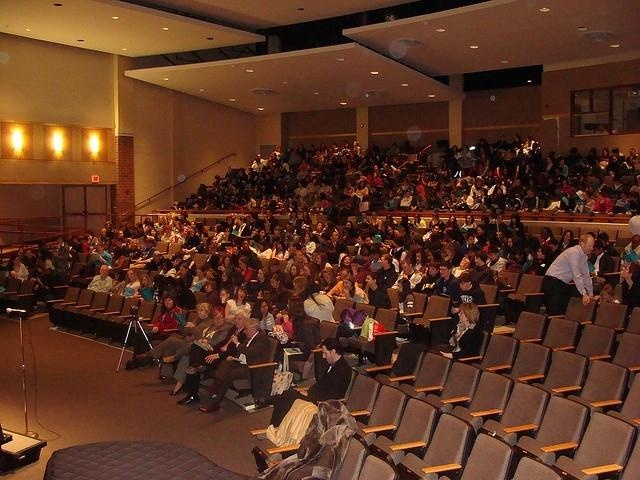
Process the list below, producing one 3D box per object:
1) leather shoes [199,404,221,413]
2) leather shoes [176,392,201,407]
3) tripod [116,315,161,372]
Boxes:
[{"bbox_3d":[-1.608,2.430,6.937,0.274,0.109,0.143,-2,4,5],"label":"leather shoes"},{"bbox_3d":[-2.011,2.404,7.287,0.337,0.134,0.241,-1,4,16],"label":"leather shoes"},{"bbox_3d":[-3.577,1.911,9.251,0.849,1.043,0.774,1,3,21],"label":"tripod"}]
